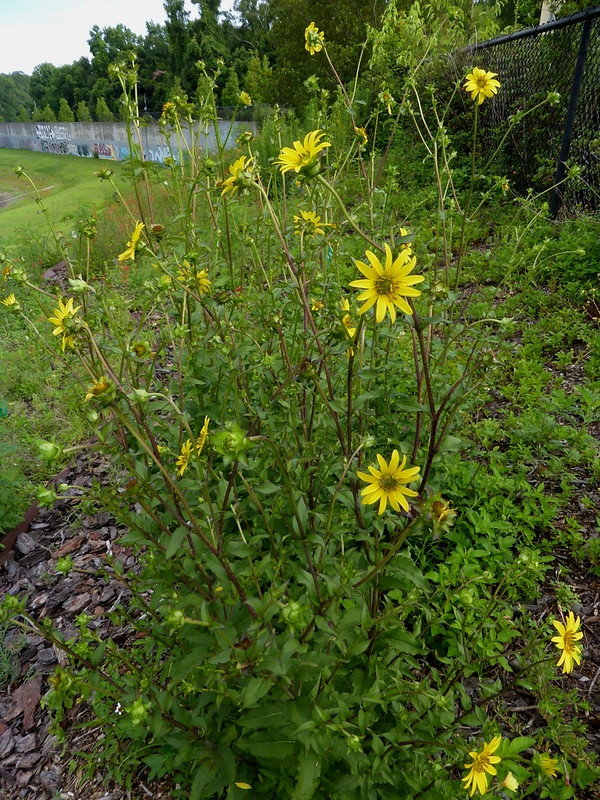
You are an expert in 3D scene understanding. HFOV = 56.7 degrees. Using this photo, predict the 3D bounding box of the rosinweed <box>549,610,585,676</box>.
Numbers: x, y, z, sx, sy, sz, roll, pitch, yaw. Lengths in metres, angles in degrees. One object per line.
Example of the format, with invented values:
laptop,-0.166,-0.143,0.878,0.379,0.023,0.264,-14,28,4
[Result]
rosinweed,0.809,0.722,1.673,0.153,0.061,0.163,-11,33,43
